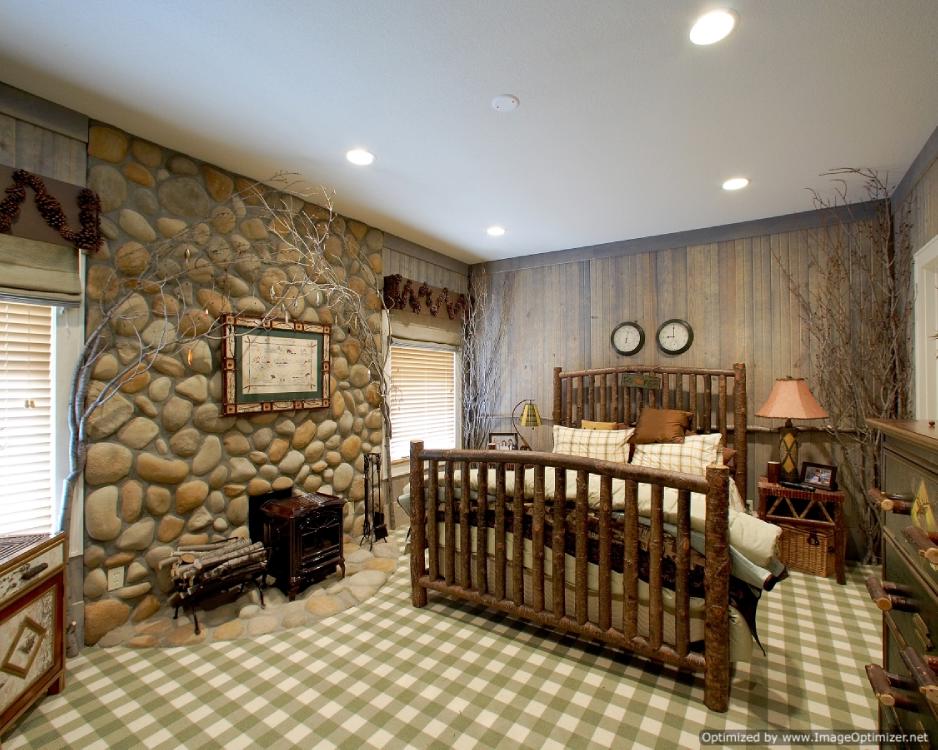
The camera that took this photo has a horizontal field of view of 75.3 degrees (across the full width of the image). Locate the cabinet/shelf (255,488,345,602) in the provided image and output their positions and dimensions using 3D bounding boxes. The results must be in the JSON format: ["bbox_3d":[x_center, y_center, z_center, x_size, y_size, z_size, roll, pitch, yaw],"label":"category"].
[{"bbox_3d":[-1.199,1.171,4.364,0.496,0.596,0.500,9,14,42],"label":"cabinet/shelf"}]

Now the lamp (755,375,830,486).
[{"bbox_3d":[2.478,0.425,4.727,0.440,0.822,0.491,1,1,-7],"label":"lamp"}]

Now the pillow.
[{"bbox_3d":[1.306,0.466,4.925,0.848,0.441,0.744,0,-3,16],"label":"pillow"}]

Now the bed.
[{"bbox_3d":[0.988,0.746,4.727,1.983,1.922,2.738,3,0,31],"label":"bed"}]

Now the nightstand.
[{"bbox_3d":[2.486,1.161,4.679,0.590,0.666,0.517,3,6,27],"label":"nightstand"}]

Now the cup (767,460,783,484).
[{"bbox_3d":[2.365,0.763,4.713,0.110,0.240,0.122,-1,-1,32],"label":"cup"}]

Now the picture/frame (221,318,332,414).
[{"bbox_3d":[-1.416,-0.066,4.401,0.079,0.616,0.647,-1,-3,36],"label":"picture/frame"}]
